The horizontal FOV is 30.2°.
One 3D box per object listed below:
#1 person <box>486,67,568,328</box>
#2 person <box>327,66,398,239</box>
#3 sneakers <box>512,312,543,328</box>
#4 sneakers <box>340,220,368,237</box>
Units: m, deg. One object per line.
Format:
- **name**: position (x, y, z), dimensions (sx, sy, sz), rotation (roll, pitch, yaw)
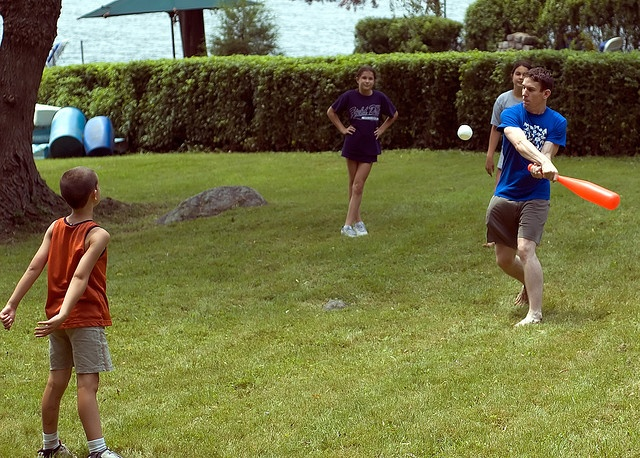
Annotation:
- **person**: position (2.815, -0.456, 16.579), dimensions (0.981, 3.533, 0.893), rotation (5, 10, 27)
- **person**: position (0.655, -1.312, 19.895), dimensions (0.865, 2.803, 0.817), rotation (8, 12, 40)
- **sneakers**: position (2.882, 1.272, 16.494), dimensions (0.491, 0.230, 0.155), rotation (-5, -8, 16)
- **sneakers**: position (0.575, 0.013, 19.867), dimensions (0.217, 0.168, 0.395), rotation (10, -1, 21)
